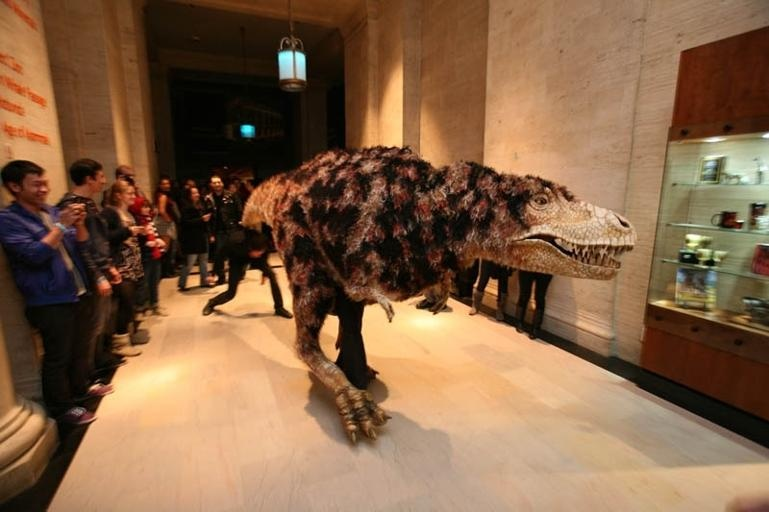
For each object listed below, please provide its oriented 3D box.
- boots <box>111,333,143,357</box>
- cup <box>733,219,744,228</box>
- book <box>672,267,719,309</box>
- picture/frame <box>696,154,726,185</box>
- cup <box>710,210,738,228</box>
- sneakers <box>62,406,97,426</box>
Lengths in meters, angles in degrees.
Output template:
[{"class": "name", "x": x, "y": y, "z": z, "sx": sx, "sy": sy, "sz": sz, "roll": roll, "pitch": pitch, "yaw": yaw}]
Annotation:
[{"class": "boots", "x": -2.623, "y": 0.938, "z": 4.718, "sx": 0.388, "sy": 0.255, "sz": 0.139, "roll": 7, "pitch": 2, "yaw": -25}, {"class": "cup", "x": 3.119, "y": -0.283, "z": 4.015, "sx": 0.077, "sy": 0.073, "sz": 0.035, "roll": -1, "pitch": 13, "yaw": -6}, {"class": "book", "x": 2.885, "y": 0.292, "z": 4.212, "sx": 0.399, "sy": 0.457, "sz": 0.051, "roll": 2, "pitch": 4, "yaw": 29}, {"class": "picture/frame", "x": 2.922, "y": -0.787, "z": 4.079, "sx": 0.044, "sy": 0.314, "sz": 0.239, "roll": -6, "pitch": 16, "yaw": -35}, {"class": "cup", "x": 3.022, "y": -0.327, "z": 4.072, "sx": 0.110, "sy": 0.125, "sz": 0.176, "roll": -4, "pitch": 3, "yaw": -43}, {"class": "sneakers", "x": -2.575, "y": 1.359, "z": 3.867, "sx": 0.283, "sy": 0.116, "sz": 0.108, "roll": 13, "pitch": 27, "yaw": -28}]
